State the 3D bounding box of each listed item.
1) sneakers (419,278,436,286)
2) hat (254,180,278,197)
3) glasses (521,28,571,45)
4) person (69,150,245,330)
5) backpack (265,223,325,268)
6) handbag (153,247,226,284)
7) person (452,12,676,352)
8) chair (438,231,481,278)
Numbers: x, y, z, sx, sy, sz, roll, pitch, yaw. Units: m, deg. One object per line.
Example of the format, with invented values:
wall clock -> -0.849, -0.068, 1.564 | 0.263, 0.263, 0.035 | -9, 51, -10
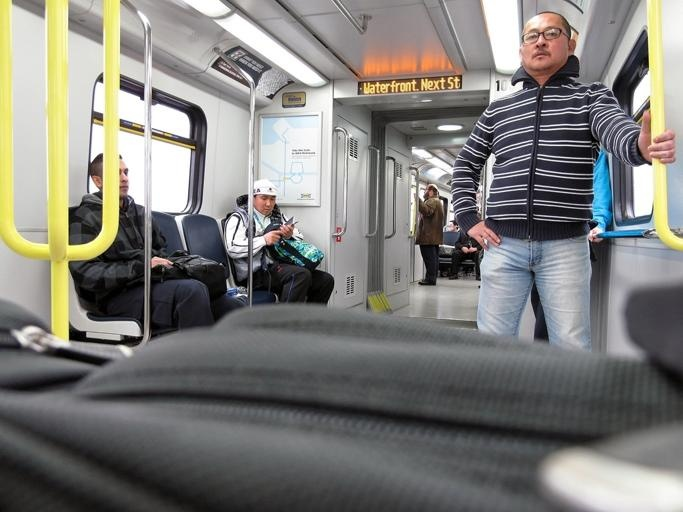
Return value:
sneakers -> 2.359, 0.740, 13.008 | 0.450, 0.194, 0.169 | 1, -8, 34
hat -> -0.955, -0.858, 5.807 | 0.280, 0.176, 0.203 | 12, 10, -15
glasses -> 1.074, -1.153, 2.439 | 0.232, 0.075, 0.105 | 0, 1, 13
person -> -1.585, -0.136, 3.871 | 1.177, 1.525, 1.038 | -1, 1, -24
backpack -> -0.575, -0.096, 5.714 | 0.669, 0.432, 0.247 | 18, -29, -18
handbag -> -1.343, 0.075, 4.031 | 0.379, 0.149, 0.318 | 6, 3, 13
person -> 1.082, -0.418, 2.436 | 0.479, 1.777, 1.057 | 0, 0, -34
chair -> 3.461, 0.013, 13.921 | 1.291, 1.925, 1.578 | 0, -9, 7
